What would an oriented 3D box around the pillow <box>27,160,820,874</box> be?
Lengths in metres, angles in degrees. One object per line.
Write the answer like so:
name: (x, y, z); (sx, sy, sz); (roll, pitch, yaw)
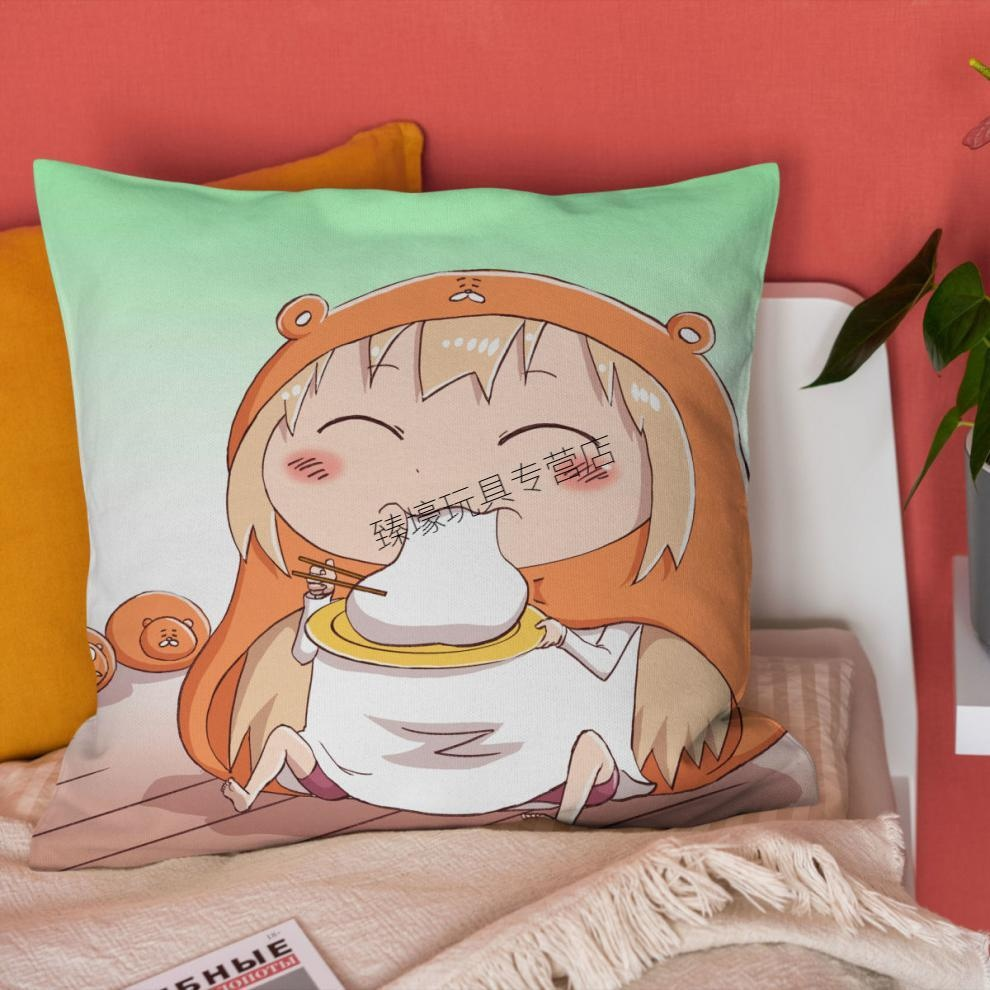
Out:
pillow: (-0.079, 0.027, 0.970); (0.697, 0.232, 0.551); (-2, 85, -3)
